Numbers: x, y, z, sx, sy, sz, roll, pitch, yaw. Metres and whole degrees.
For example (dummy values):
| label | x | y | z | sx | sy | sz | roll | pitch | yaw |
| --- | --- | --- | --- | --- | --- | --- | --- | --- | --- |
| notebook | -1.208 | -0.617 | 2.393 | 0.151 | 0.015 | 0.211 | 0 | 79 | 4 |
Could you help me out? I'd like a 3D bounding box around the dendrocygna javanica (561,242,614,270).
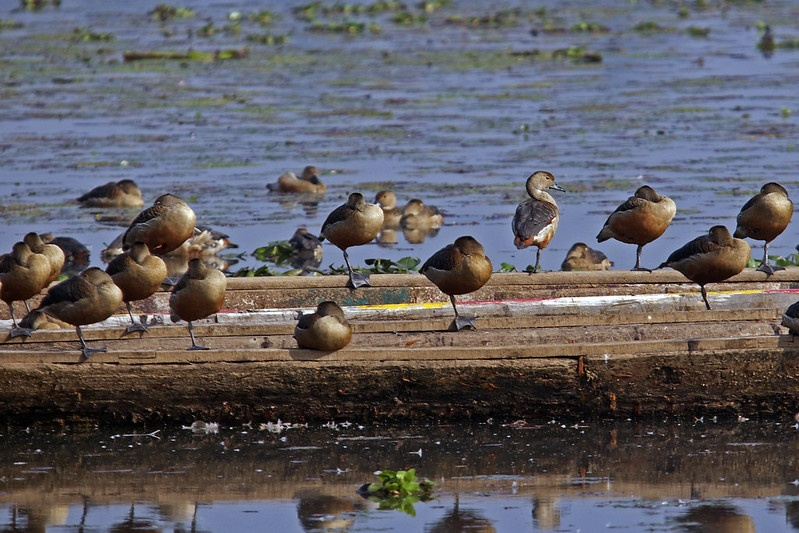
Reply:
| label | x | y | z | sx | sy | sz | roll | pitch | yaw |
| --- | --- | --- | --- | --- | --- | --- | --- | --- | --- |
| dendrocygna javanica | 4.152 | -0.202 | 40.403 | 0.785 | 0.362 | 0.970 | 1 | 1 | -7 |
